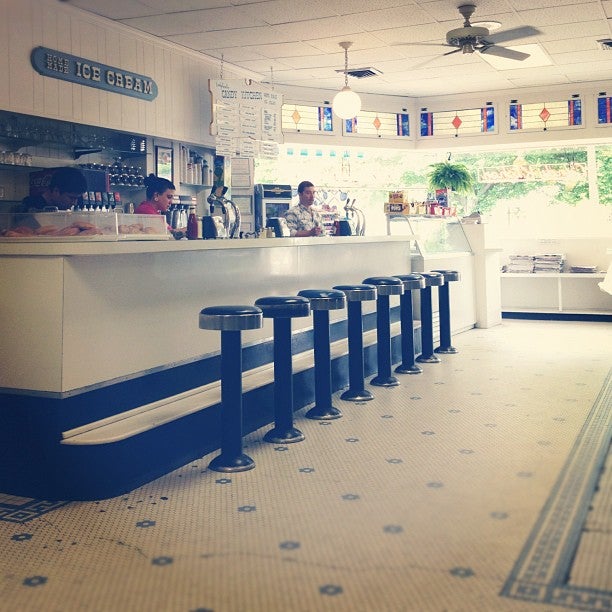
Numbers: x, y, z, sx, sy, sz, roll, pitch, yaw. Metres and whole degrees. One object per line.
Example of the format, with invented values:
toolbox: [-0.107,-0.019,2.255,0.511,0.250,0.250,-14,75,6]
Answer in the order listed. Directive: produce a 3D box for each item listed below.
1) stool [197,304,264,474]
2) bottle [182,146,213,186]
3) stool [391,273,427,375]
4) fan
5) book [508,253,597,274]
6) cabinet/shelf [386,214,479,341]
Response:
stool: [-0.377,0.405,2.688,0.298,0.806,0.285,-2,2,-25]
bottle: [-1.380,-1.739,6.693,0.260,0.435,0.494,2,4,25]
stool: [0.910,0.177,4.912,0.374,0.863,0.341,-1,2,26]
fan: [1.619,-2.795,5.462,0.791,0.301,0.879,2,10,35]
book: [3.716,-0.646,8.313,1.289,0.326,0.342,0,2,22]
cabinet/shelf: [1.412,-0.315,6.085,0.619,1.841,1.684,-2,0,33]
